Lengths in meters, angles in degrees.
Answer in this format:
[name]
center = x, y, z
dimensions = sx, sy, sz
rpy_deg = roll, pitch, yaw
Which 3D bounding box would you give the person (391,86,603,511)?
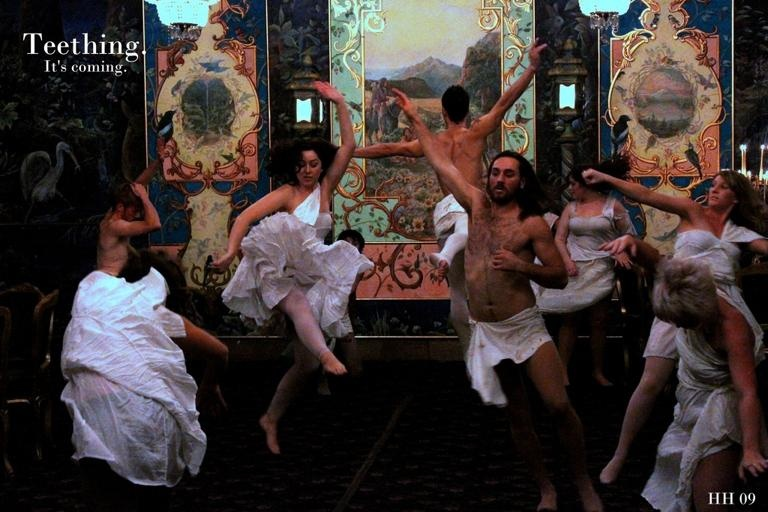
[person]
center = 0.834, 0.418, 5.323
dimensions = 0.655, 2.347, 1.203
rpy_deg = -8, 11, -41

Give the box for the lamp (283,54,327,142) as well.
[lamp]
center = -0.890, -1.885, 9.528
dimensions = 0.513, 0.827, 0.483
rpy_deg = -8, 15, -38
